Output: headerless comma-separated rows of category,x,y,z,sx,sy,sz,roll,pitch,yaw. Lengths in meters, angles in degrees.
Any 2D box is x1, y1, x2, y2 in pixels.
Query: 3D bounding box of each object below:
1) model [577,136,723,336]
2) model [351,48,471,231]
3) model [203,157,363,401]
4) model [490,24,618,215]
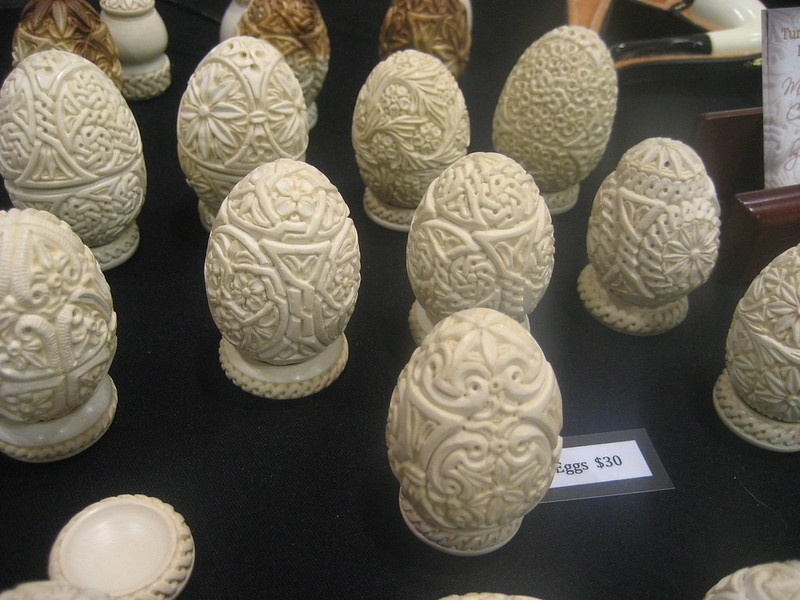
model,1.124,-0.244,3.756,0.564,0.821,0.435,21,53,17
model,0.049,-0.883,4.220,0.556,0.897,0.664,10,43,12
model,-0.507,-0.148,3.550,0.552,0.949,0.643,6,28,0
model,0.812,-0.979,4.277,0.517,0.961,0.632,4,44,-5
